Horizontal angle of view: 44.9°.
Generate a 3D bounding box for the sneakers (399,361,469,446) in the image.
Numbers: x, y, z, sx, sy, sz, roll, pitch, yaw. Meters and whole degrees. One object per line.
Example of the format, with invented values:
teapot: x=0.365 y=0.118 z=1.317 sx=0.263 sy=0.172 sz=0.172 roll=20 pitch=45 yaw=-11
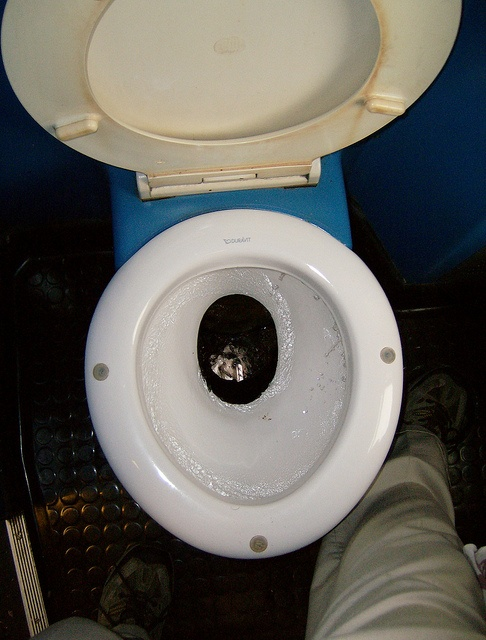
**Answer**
sneakers: x=0.391 y=0.154 z=1.188 sx=0.115 sy=0.051 sz=0.155 roll=11 pitch=100 yaw=0
